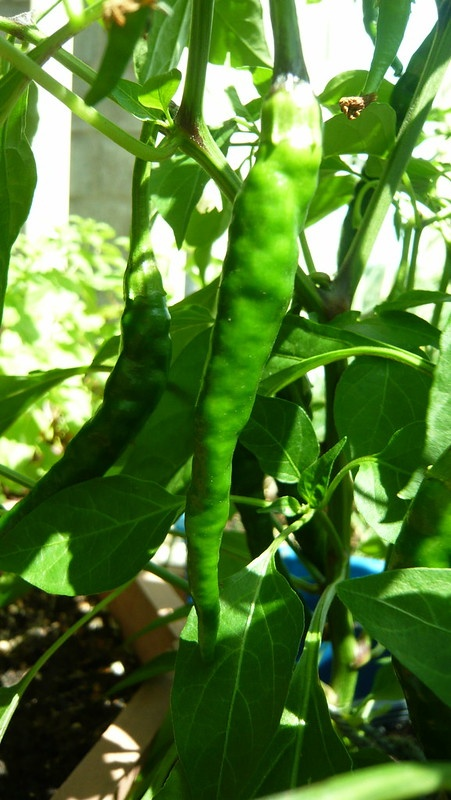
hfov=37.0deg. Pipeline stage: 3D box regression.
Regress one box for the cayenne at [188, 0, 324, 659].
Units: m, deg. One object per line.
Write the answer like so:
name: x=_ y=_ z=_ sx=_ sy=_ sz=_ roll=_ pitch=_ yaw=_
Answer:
cayenne: x=-0.001 y=-0.005 z=0.259 sx=0.028 sy=0.261 sz=0.033 roll=18 pitch=14 yaw=36

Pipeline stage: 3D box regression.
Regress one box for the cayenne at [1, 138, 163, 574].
cayenne: x=-0.050 y=-0.016 z=0.305 sx=0.048 sy=0.162 sz=0.081 roll=20 pitch=-26 yaw=-9
